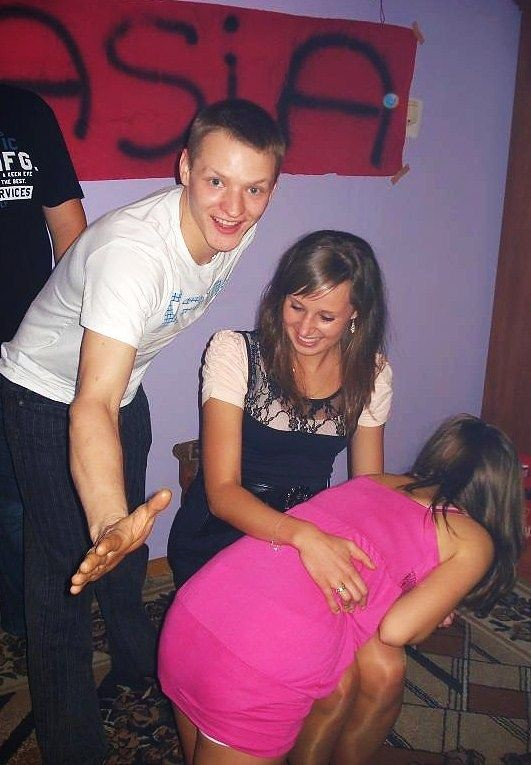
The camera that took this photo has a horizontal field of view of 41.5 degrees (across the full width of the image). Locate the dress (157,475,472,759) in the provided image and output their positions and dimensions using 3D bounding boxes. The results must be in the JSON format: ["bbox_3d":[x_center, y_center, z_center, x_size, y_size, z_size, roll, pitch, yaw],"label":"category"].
[{"bbox_3d":[0.110,0.447,1.390,0.325,0.278,0.586,23,50,39],"label":"dress"}]
